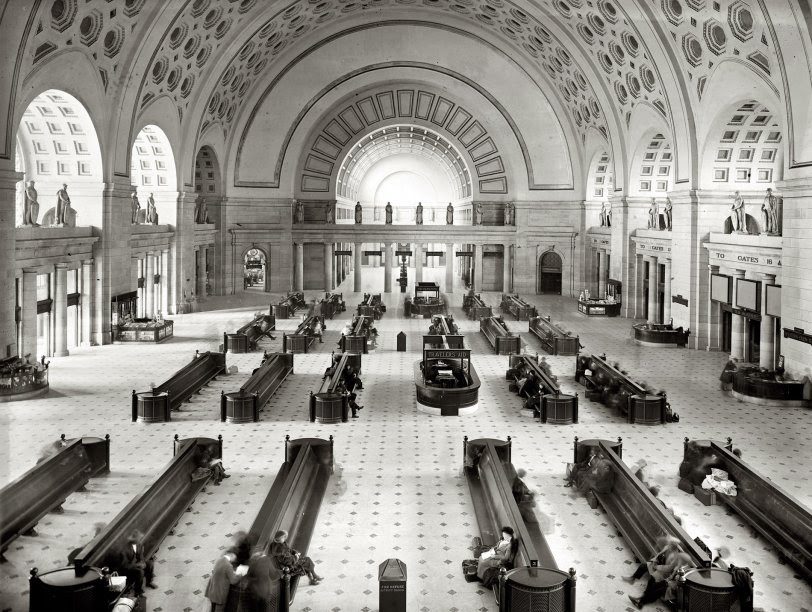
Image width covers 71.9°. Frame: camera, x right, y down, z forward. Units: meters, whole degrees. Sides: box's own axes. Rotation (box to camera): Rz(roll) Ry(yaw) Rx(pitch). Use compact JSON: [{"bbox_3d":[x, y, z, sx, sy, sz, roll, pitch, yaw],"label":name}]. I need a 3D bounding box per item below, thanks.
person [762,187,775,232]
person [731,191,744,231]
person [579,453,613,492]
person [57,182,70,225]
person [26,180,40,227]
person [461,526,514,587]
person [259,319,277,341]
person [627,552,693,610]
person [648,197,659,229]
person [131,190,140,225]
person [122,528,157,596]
[{"bbox_3d":[12.615,-3.308,19.514,0.386,1.612,1.251,3,7,33],"label":"person"},{"bbox_3d":[12.806,-3.618,21.637,0.427,1.573,1.382,3,7,30],"label":"person"},{"bbox_3d":[3.486,3.078,10.332,0.495,0.575,0.865,0,6,7],"label":"person"},{"bbox_3d":[-13.421,-3.973,22.110,0.489,1.589,0.532,-4,7,-36],"label":"person"},{"bbox_3d":[-13.456,-3.716,20.181,0.427,1.645,1.572,-4,7,-34],"label":"person"},{"bbox_3d":[1.119,3.335,7.536,0.587,0.732,0.429,8,5,-6],"label":"person"},{"bbox_3d":[-6.220,1.035,25.001,0.207,0.802,0.881,-19,-3,13],"label":"person"},{"bbox_3d":[3.168,3.458,6.986,0.410,0.716,0.262,25,27,7],"label":"person"},{"bbox_3d":[12.572,-4.645,28.468,0.463,1.430,0.684,2,6,25],"label":"person"},{"bbox_3d":[-12.780,-4.648,26.580,0.365,1.569,2.864,-3,7,-26],"label":"person"},{"bbox_3d":[-3.476,3.333,7.359,0.419,0.804,0.369,0,23,-27],"label":"person"}]
